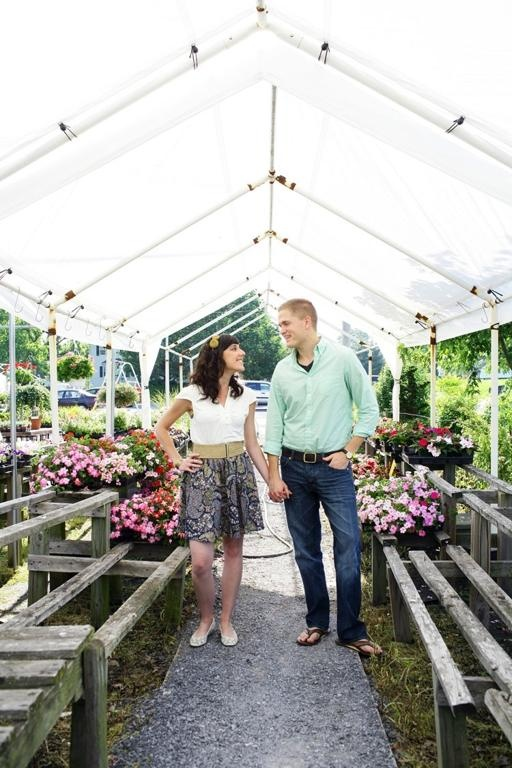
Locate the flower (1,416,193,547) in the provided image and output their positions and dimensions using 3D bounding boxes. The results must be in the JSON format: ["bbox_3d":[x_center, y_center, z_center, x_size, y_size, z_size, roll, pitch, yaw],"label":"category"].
[{"bbox_3d":[-0.871,0.647,4.039,0.785,0.408,0.893,0,2,34],"label":"flower"}]

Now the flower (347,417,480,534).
[{"bbox_3d":[1.047,0.645,4.383,0.672,0.406,1.081,0,0,-9],"label":"flower"}]

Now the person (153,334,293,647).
[{"bbox_3d":[-0.213,0.562,3.064,0.592,1.630,0.409,1,-2,-17],"label":"person"}]

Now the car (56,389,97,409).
[{"bbox_3d":[-7.737,0.628,25.729,1.064,0.846,2.416,2,-3,-37],"label":"car"}]

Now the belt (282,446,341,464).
[{"bbox_3d":[0.254,0.369,3.046,0.305,0.075,0.087,-2,-3,44],"label":"belt"}]

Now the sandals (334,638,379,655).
[{"bbox_3d":[0.535,1.343,3.057,0.167,0.052,0.084,0,2,26],"label":"sandals"}]

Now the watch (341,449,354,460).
[{"bbox_3d":[0.454,0.349,2.924,0.038,0.062,0.057,-28,13,-23],"label":"watch"}]
